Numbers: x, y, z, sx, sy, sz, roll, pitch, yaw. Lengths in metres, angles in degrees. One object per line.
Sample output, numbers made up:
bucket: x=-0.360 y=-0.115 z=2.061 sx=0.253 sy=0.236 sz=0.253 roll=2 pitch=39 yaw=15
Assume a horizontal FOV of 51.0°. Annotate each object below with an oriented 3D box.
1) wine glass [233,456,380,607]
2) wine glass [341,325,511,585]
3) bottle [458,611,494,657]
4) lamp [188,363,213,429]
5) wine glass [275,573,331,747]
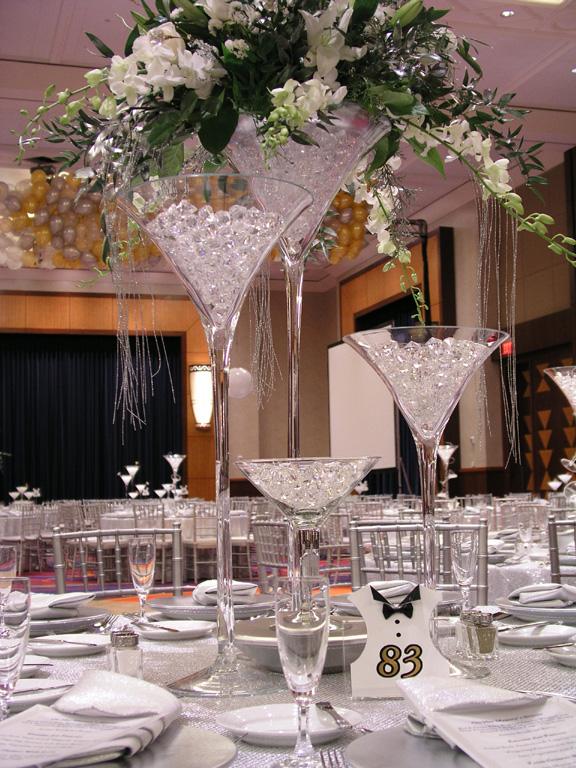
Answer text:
wine glass: x=0.018 y=0.161 z=0.759 sx=0.137 sy=0.134 sz=0.183 roll=-7 pitch=-7 yaw=40
wine glass: x=0.229 y=0.096 z=0.959 sx=0.247 sy=0.384 sz=0.235 roll=-4 pitch=-6 yaw=14
bottle: x=0.272 y=0.362 z=0.868 sx=0.025 sy=0.055 sz=0.059 roll=5 pitch=-11 yaw=-18
lamp: x=-1.989 y=0.287 z=13.930 sx=0.674 sy=1.560 sz=0.257 roll=1 pitch=-5 yaw=-39
wine glass: x=0.011 y=0.229 z=0.508 sx=0.042 sy=0.140 sz=0.071 roll=-1 pitch=-6 yaw=-15
